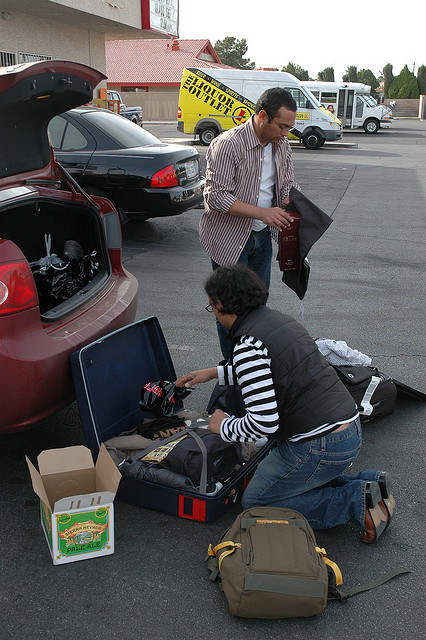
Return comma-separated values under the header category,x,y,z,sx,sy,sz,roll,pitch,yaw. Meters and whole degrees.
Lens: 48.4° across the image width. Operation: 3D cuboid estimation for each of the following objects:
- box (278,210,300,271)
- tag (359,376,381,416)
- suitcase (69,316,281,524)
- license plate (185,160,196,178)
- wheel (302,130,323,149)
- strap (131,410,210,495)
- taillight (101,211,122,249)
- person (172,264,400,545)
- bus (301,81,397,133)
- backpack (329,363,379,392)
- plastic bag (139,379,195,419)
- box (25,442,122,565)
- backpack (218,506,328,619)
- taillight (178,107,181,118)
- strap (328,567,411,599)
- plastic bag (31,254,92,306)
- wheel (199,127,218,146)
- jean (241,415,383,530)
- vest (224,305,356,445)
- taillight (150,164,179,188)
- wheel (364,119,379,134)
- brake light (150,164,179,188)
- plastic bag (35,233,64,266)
category,x,y,z,sx,sy,sz,roll,pitch,yaw
box,0.481,-0.519,2.992,0.151,0.423,0.244,2,21,12
tag,0.920,0.444,2.792,0.068,0.204,0.152,10,-3,-2
suitcase,-0.144,0.380,2.381,0.964,0.771,0.944,4,7,32
license plate,-0.336,-2.243,7.043,0.035,0.323,0.314,-1,21,22
wheel,4.605,-8.371,21.862,0.601,0.594,0.215,41,29,-9
strap,-0.119,0.574,2.303,0.373,0.141,0.671,5,13,15
taillight,-0.632,-0.569,2.981,0.121,0.230,0.105,-8,16,-35
person,0.329,0.114,2.330,1.200,1.300,0.726,9,35,31
bus,7.872,-13.635,30.291,7.105,2.863,2.854,12,29,22
backpack,0.854,0.335,2.846,0.246,0.099,0.197,2,8,6
plastic bag,-0.253,0.415,2.511,0.254,0.147,0.348,5,19,10
box,-0.535,0.674,1.815,0.285,0.406,0.427,-4,14,-22
backpack,0.185,0.806,1.597,0.332,0.172,0.377,0,13,-4
taillight,-1.454,-9.181,20.928,0.110,0.388,0.188,0,13,-4
strap,0.583,0.917,1.673,0.330,0.040,0.031,-6,15,-29
plastic bag,-0.961,-0.263,3.037,0.399,0.312,0.139,-12,29,-44
wheel,-0.223,-8.213,21.157,0.404,0.742,0.994,-10,17,-40
jean,0.384,0.631,1.931,0.703,0.290,0.536,6,17,-3
vest,0.328,0.236,1.909,0.525,0.572,0.221,0,13,-3
taillight,-0.654,-1.972,6.511,0.405,0.197,0.242,12,16,42
wheel,9.996,-12.300,30.125,0.939,0.829,0.423,-2,13,-15
brake light,-0.653,-1.976,6.520,0.400,0.196,0.245,13,17,43
plastic bag,-1.133,-0.493,3.275,0.233,0.042,0.280,-11,50,-9
